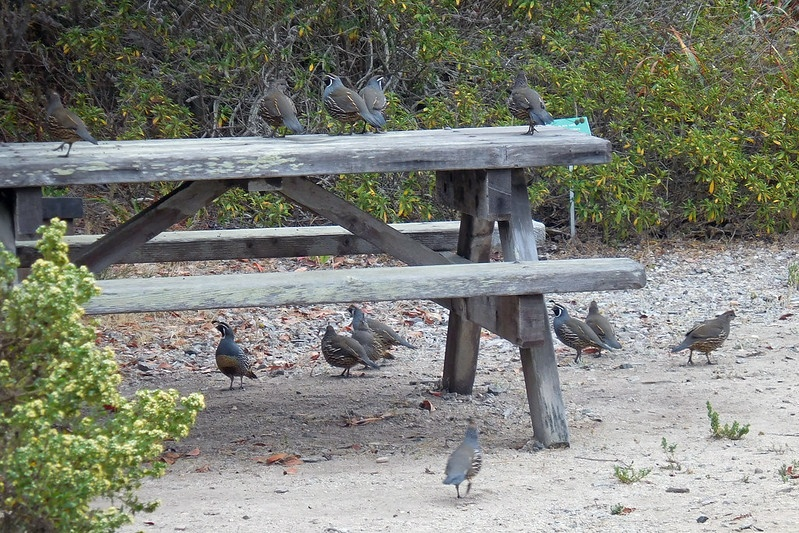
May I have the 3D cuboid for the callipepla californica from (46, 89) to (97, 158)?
[{"bbox_3d":[-2.583,-1.110,8.421,0.639,0.442,0.208,17,15,25],"label":"callipepla californica"}]

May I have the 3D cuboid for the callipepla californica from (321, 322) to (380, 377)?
[{"bbox_3d":[-0.541,0.809,10.560,0.857,0.513,0.317,2,4,45],"label":"callipepla californica"}]

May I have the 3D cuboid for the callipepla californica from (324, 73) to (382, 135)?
[{"bbox_3d":[-0.425,-1.452,9.514,0.778,0.463,0.396,17,23,38],"label":"callipepla californica"}]

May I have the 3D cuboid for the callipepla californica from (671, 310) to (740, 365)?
[{"bbox_3d":[3.074,0.702,10.890,0.724,0.501,0.311,-5,16,-19],"label":"callipepla californica"}]

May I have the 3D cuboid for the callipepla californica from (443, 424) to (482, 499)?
[{"bbox_3d":[0.454,1.461,8.007,0.223,0.432,0.593,5,20,26],"label":"callipepla californica"}]

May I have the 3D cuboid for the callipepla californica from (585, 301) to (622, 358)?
[{"bbox_3d":[2.123,0.659,11.239,0.261,0.434,0.667,-1,16,-18],"label":"callipepla californica"}]

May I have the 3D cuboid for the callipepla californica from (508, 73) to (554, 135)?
[{"bbox_3d":[1.133,-1.445,9.250,0.317,0.515,0.403,-14,16,-41],"label":"callipepla californica"}]

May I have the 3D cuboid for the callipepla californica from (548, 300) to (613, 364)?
[{"bbox_3d":[1.881,0.671,11.153,0.324,0.515,0.855,-23,23,-35],"label":"callipepla californica"}]

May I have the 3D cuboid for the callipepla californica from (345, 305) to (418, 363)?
[{"bbox_3d":[-0.213,0.659,10.994,0.773,0.496,0.295,9,18,29],"label":"callipepla californica"}]
